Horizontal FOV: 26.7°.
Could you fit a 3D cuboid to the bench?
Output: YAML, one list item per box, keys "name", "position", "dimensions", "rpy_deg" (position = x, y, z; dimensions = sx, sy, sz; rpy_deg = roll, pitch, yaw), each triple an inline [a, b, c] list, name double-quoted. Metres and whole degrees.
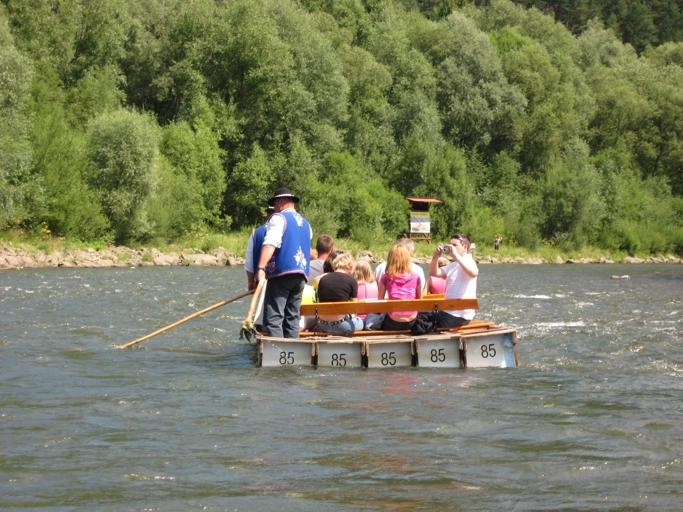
- name: "bench"
  position: [2.514, 2.815, 68.068]
  dimensions: [4.783, 1.495, 2.558]
  rpy_deg: [3, 4, -10]

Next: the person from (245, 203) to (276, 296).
- name: "person"
  position: [-3.953, -0.250, 68.239]
  dimensions: [1.156, 4.418, 1.010]
  rpy_deg: [-5, 9, -22]
